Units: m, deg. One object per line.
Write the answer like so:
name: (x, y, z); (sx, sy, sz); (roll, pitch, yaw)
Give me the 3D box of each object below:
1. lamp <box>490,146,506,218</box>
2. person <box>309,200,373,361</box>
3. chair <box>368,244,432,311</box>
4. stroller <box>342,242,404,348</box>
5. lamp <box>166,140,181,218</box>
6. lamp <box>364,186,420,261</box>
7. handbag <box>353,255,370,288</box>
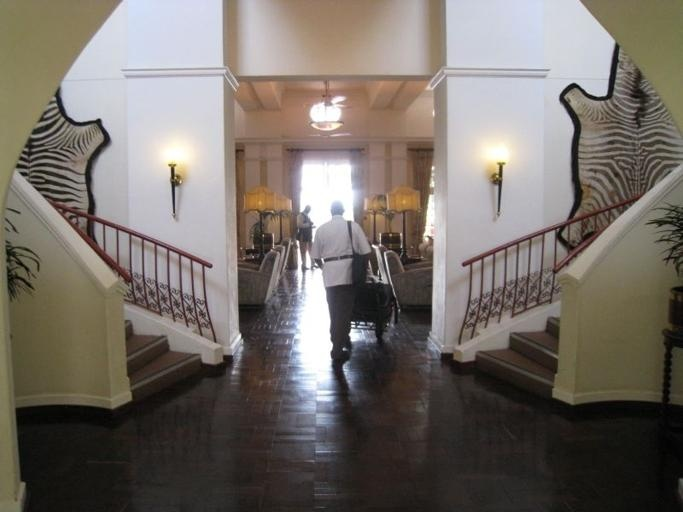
lamp: (1.990, -0.931, 6.786); (0.138, 0.857, 0.213); (9, 15, 39)
person: (0.006, 0.315, 6.721); (0.713, 1.953, 0.507); (-1, 12, -3)
chair: (1.022, 0.390, 9.294); (0.938, 0.936, 1.003); (-2, 9, -8)
stroller: (0.533, 0.685, 7.988); (0.745, 1.233, 1.311); (0, 6, 3)
lamp: (-2.069, -0.916, 6.715); (0.141, 0.872, 0.211); (-9, 14, -36)
lamp: (1.153, -0.830, 12.856); (0.673, 1.683, 1.728); (-5, 11, -20)
handbag: (0.271, 0.146, 6.663); (0.149, 0.392, 0.370); (5, 14, 23)
